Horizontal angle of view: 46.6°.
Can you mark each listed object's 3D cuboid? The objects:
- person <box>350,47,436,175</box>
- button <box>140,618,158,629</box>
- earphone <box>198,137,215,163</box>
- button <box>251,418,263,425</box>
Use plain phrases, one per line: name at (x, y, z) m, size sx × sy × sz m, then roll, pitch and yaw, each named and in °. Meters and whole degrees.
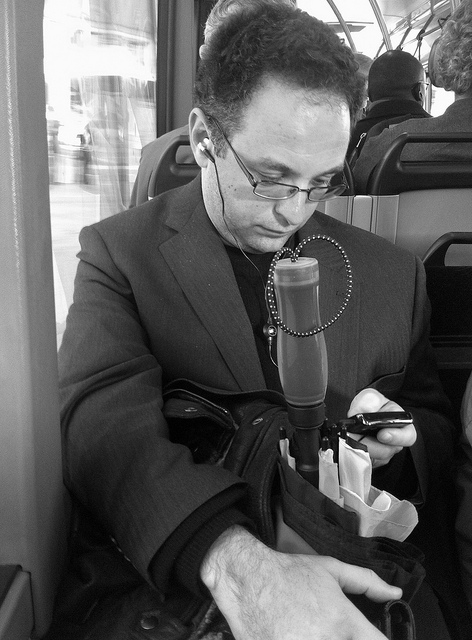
person at (1.253, -1.579, 4.143) m, size 0.948 × 0.821 × 0.518 m, roll 9°, pitch 18°, yaw 40°
button at (-0.124, 0.428, 0.776) m, size 0.020 × 0.001 × 0.024 m, roll -14°, pitch 21°, yaw -34°
earphone at (-0.067, -0.381, 1.226) m, size 0.035 × 0.060 × 0.015 m, roll -35°, pitch -27°, yaw 18°
button at (0.036, 0.170, 0.924) m, size 0.017 × 0.008 × 0.019 m, roll 2°, pitch 18°, yaw 11°
